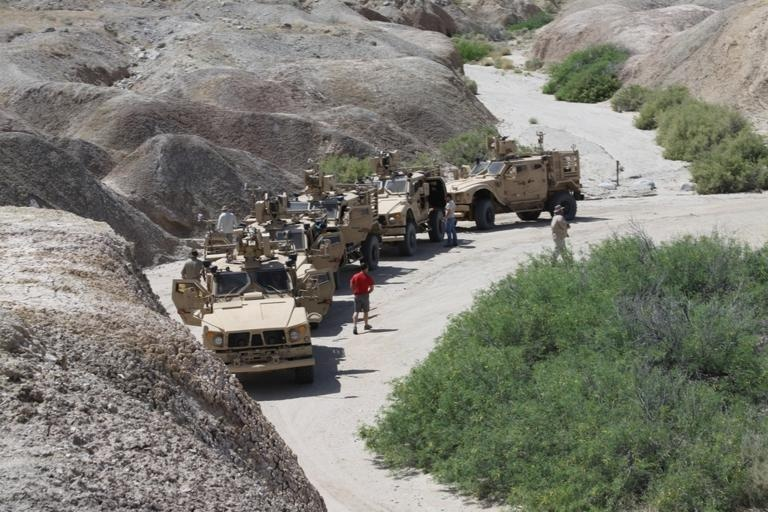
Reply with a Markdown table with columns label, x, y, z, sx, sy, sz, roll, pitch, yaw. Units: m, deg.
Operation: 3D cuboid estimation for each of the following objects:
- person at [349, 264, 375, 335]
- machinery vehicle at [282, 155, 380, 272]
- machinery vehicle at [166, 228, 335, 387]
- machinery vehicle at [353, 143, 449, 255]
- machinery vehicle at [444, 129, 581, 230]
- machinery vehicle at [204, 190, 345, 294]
| label | x | y | z | sx | sy | sz | roll | pitch | yaw |
| --- | --- | --- | --- | --- | --- | --- | --- | --- | --- |
| person | -0.681 | 1.016 | 31.645 | 0.771 | 1.928 | 1.361 | -10 | 17 | -2 |
| machinery vehicle | -1.933 | -1.222 | 34.375 | 2.339 | 2.139 | 3.613 | -3 | 7 | 15 |
| machinery vehicle | -3.583 | 0.789 | 30.412 | 4.018 | 3.387 | 5.734 | -4 | 24 | -5 |
| machinery vehicle | 0.293 | -1.706 | 38.981 | 3.357 | 2.615 | 4.450 | 0 | 12 | 24 |
| machinery vehicle | 4.364 | -2.767 | 41.057 | 5.404 | 2.915 | 2.938 | -9 | 11 | -35 |
| machinery vehicle | -2.618 | -0.339 | 31.413 | 2.741 | 2.032 | 3.462 | -1 | -2 | 8 |
